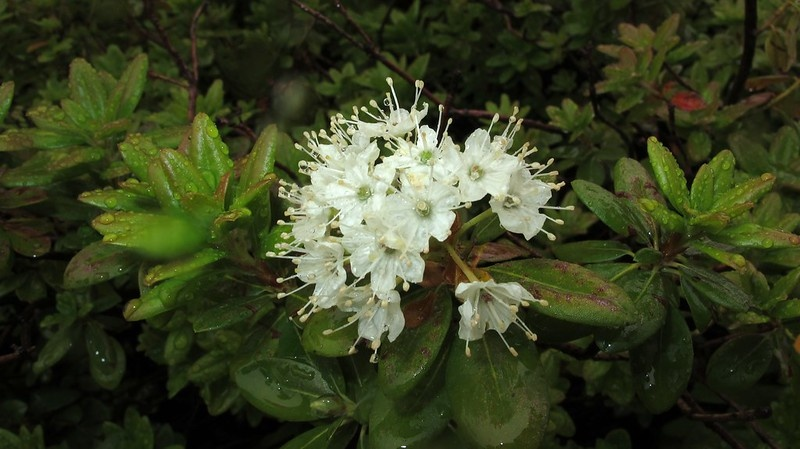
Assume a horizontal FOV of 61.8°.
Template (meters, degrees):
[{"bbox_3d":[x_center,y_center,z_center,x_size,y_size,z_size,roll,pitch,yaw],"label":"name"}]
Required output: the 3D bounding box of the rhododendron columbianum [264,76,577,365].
[{"bbox_3d":[0.034,0.067,3.418,1.372,0.915,1.144,4,57,4],"label":"rhododendron columbianum"}]
